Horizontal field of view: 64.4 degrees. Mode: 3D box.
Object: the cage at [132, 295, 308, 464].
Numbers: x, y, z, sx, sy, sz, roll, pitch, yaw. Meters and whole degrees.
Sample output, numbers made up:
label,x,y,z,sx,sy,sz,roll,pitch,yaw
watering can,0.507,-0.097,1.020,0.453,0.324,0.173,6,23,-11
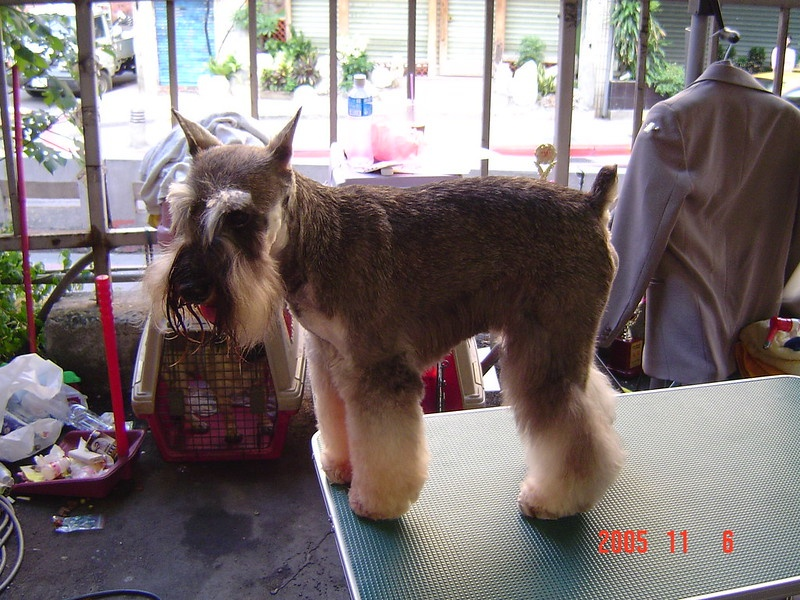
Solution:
label,x,y,z,sx,sy,sz,roll,pitch,yaw
cage,-1.044,0.341,3.945,0.890,1.222,1.202,3,12,-11
